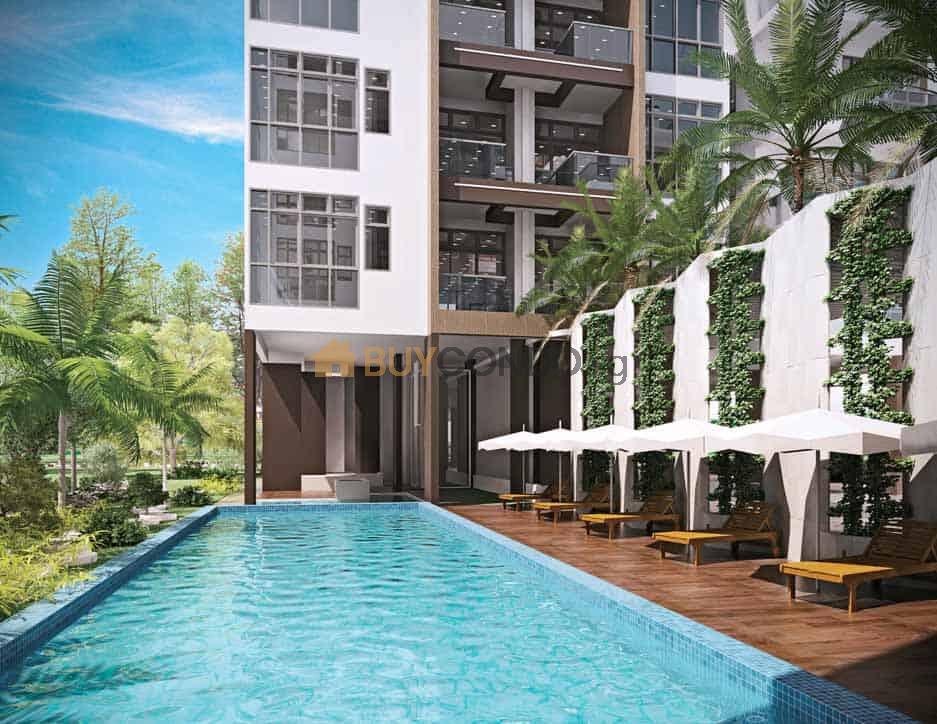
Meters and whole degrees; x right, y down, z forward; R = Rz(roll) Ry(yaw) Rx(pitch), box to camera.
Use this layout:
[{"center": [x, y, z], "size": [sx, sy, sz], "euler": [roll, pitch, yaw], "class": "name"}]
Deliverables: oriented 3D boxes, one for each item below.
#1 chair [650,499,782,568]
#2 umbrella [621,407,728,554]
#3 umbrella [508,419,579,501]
[{"center": [4.247, 2.828, 12.558], "size": [1.943, 0.883, 1.065], "euler": [2, -8, -16], "class": "chair"}, {"center": [3.795, 1.937, 13.297], "size": [2.184, 2.220, 2.211], "euler": [-6, -10, 44], "class": "umbrella"}, {"center": [1.452, 2.519, 19.105], "size": [1.950, 1.768, 2.114], "euler": [-11, 7, -34], "class": "umbrella"}]
